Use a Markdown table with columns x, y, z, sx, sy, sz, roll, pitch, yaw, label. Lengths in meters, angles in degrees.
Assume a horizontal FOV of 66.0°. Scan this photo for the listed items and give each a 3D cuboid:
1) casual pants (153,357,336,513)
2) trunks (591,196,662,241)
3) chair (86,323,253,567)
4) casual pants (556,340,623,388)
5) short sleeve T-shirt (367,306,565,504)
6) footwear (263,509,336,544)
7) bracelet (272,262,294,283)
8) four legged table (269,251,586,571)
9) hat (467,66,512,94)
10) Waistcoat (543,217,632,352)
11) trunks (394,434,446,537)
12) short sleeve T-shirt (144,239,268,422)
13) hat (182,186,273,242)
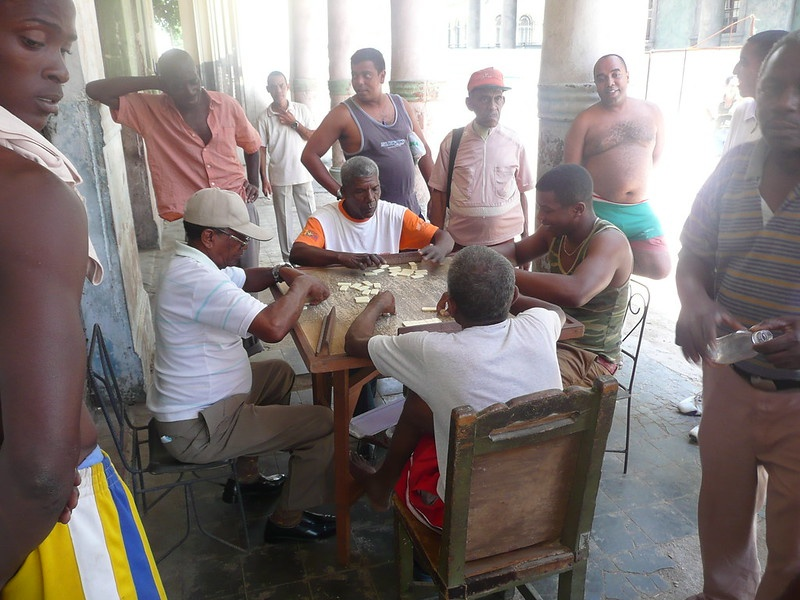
| x | y | z | sx | sy | sz | roll | pitch | yaw | label |
| --- | --- | --- | --- | --- | --- | --- | --- | --- | --- |
| -1.040 | 0.910 | 3.650 | 1.046 | 0.679 | 0.957 | -3 | 4 | -42 | casual pants |
| 2.011 | -0.727 | 5.489 | 0.675 | 0.389 | 0.371 | 10 | 36 | 42 | trunks |
| -1.298 | 0.765 | 3.537 | 0.765 | 1.241 | 0.664 | -3 | 16 | -12 | chair |
| 1.148 | 0.397 | 3.797 | 0.383 | 0.147 | 0.306 | -2 | 21 | -18 | casual pants |
| 0.332 | 0.350 | 2.956 | 0.682 | 0.687 | 0.840 | -19 | 21 | 0 | short sleeve T-shirt |
| -0.586 | 1.330 | 3.677 | 0.443 | 0.177 | 0.164 | -5 | 15 | -13 | footwear |
| -0.809 | -0.179 | 4.136 | 0.159 | 0.143 | 0.103 | -11 | 17 | -43 | bracelet |
| -0.009 | 0.277 | 3.715 | 1.967 | 1.180 | 1.823 | -6 | 15 | -17 | four legged table |
| 0.734 | -1.846 | 5.152 | 0.336 | 0.199 | 0.279 | 0 | 17 | 6 | hat |
| 1.105 | -0.090 | 3.682 | 0.435 | 0.818 | 0.603 | -11 | 22 | -17 | Waistcoat |
| 0.116 | 0.864 | 2.931 | 0.181 | 0.441 | 0.326 | -9 | 8 | -13 | trunks |
| -1.114 | 0.168 | 3.523 | 0.734 | 0.906 | 1.031 | -4 | 14 | -26 | short sleeve T-shirt |
| -0.936 | -0.484 | 3.388 | 0.500 | 0.234 | 0.314 | 11 | 11 | -5 | hat |
